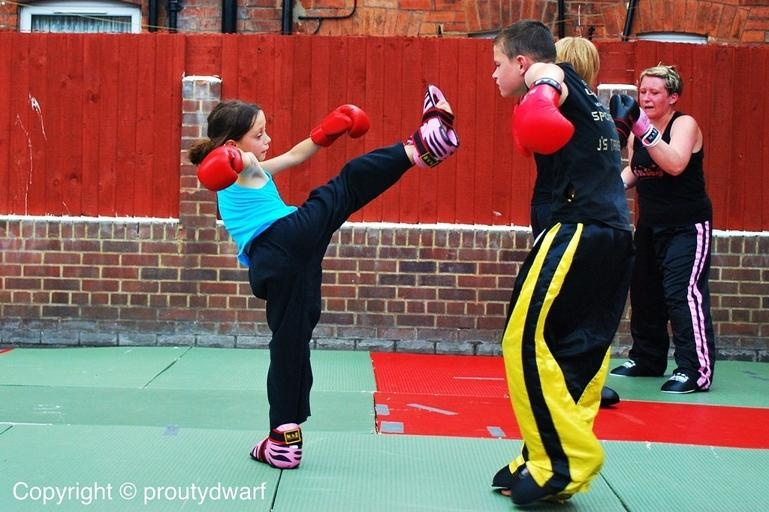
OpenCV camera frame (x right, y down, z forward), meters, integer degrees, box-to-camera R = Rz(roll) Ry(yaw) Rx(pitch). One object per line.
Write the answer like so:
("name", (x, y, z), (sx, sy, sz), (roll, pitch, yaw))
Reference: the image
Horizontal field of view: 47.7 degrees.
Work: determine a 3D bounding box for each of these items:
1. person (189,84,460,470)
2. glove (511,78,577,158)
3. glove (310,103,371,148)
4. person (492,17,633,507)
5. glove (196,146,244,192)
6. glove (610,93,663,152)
("person", (-0.550, 0.065, 6.165), (1.571, 2.564, 1.015), (-1, 13, -15))
("glove", (1.028, -0.896, 5.583), (0.382, 0.478, 0.237), (4, 12, 7))
("glove", (-0.297, -0.914, 6.341), (0.384, 0.167, 0.291), (-13, 41, 13))
("person", (1.178, -0.012, 5.896), (0.988, 3.054, 1.351), (4, 12, 7))
("glove", (-1.079, -0.586, 5.797), (0.188, 0.266, 0.147), (46, -1, -16))
("glove", (1.947, -0.970, 6.706), (0.227, 0.329, 0.556), (0, -30, 43))
